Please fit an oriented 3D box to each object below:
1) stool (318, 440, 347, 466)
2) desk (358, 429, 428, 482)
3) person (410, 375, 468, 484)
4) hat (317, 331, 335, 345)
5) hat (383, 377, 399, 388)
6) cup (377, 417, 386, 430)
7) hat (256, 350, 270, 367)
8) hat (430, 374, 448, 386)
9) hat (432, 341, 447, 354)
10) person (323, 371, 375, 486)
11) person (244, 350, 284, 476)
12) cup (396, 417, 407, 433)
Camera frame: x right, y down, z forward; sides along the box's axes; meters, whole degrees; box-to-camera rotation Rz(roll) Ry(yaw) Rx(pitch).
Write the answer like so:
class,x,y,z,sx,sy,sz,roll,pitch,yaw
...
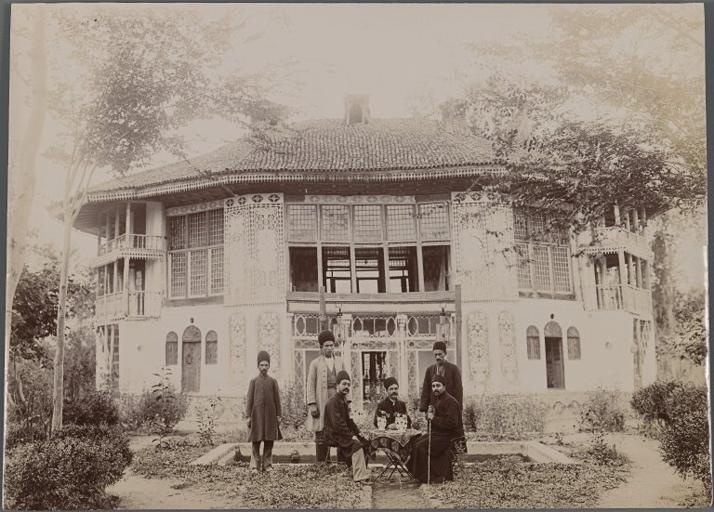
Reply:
class,x,y,z,sx,sy,sz,roll,pitch,yaw
stool,-0.413,3.181,11.155,0.427,0.456,0.445,4,-6,-29
desk,0.558,3.113,10.835,0.927,0.646,0.963,4,-10,-24
person,1.240,2.640,10.864,0.752,1.633,0.764,3,5,14
hat,-0.500,1.335,11.624,0.181,0.198,0.252,3,-35,-17
hat,0.520,1.994,10.980,0.258,0.182,0.180,-8,-15,25
cup,0.398,2.671,11.078,0.149,0.298,0.152,-1,-2,0
hat,-1.542,1.678,11.466,0.166,0.229,0.222,0,-14,-2
hat,1.284,1.935,10.933,0.164,0.148,0.218,-1,-16,11
hat,1.379,1.521,11.569,0.175,0.147,0.185,2,-1,9
person,-0.152,2.652,10.869,0.730,1.665,0.680,0,-12,-4
person,-1.517,2.507,11.354,0.548,1.914,0.566,1,-12,-9
cup,0.708,2.655,10.937,0.145,0.268,0.180,-1,-3,2
